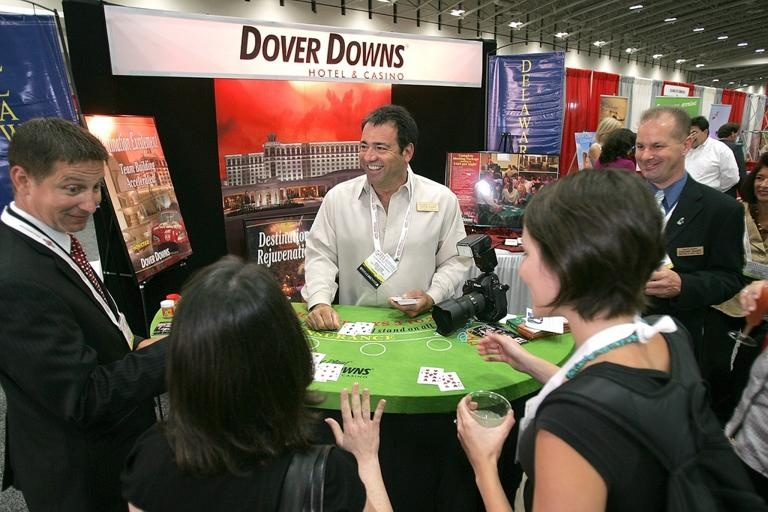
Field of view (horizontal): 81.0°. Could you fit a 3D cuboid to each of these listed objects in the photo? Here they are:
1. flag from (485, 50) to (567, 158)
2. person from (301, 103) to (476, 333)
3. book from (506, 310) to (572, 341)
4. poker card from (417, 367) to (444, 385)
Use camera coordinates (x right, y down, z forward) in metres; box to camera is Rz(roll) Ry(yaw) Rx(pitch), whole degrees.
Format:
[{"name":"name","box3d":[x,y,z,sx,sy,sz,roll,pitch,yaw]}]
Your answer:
[{"name":"flag","box3d":[1.772,-1.909,5.687,0.927,1.272,0.016,2,1,7]},{"name":"person","box3d":[0.012,-0.070,3.339,1.292,1.928,1.086,-2,16,-12]},{"name":"book","box3d":[0.913,0.421,2.656,0.227,0.061,0.226,-5,10,-22]},{"name":"poker card","box3d":[0.233,0.613,2.279,0.123,0.023,0.146,3,15,13]}]
